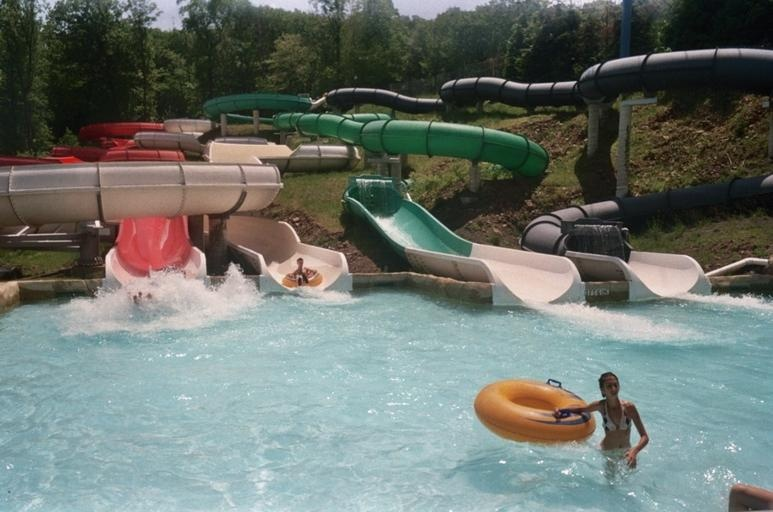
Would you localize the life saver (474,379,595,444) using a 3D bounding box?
[{"bbox_3d":[2.745,2.879,12.954,1.533,0.430,1.479,0,22,-19],"label":"life saver"}]
